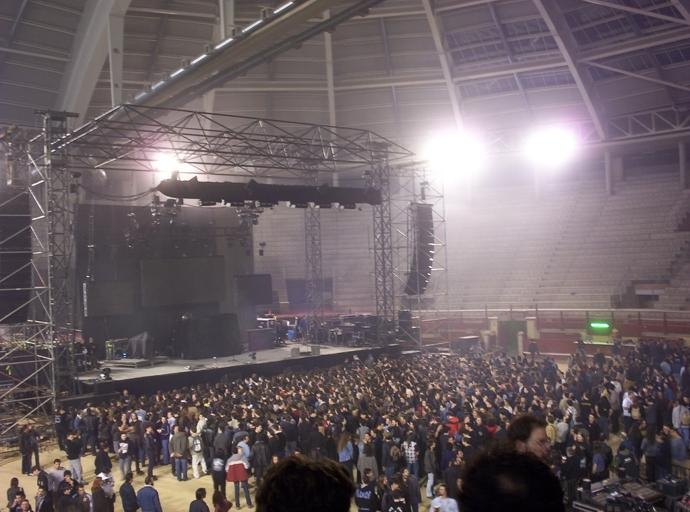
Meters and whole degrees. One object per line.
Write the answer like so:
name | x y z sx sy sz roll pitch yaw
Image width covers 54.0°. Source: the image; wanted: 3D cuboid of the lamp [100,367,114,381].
lamp | -11.048 5.453 31.175 0.496 0.882 0.511 0 -2 15

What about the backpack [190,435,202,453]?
backpack | -5.289 6.531 23.648 0.472 0.623 0.284 0 -2 19
